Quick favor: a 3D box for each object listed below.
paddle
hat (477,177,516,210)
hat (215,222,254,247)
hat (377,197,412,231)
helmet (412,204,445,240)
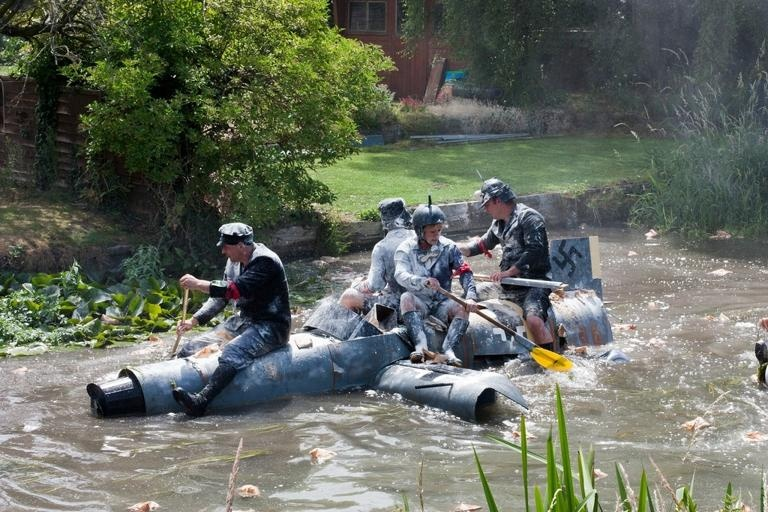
[{"bbox_3d":[1.679,1.116,17.123,2.652,0.157,0.398,27,18,37],"label":"paddle"},{"bbox_3d":[1.704,-0.994,17.837,0.459,0.308,0.474,-10,4,-15],"label":"hat"},{"bbox_3d":[-2.141,-0.346,16.337,0.424,0.240,0.371,-4,16,-18],"label":"hat"},{"bbox_3d":[0.190,-0.720,17.555,0.485,0.507,0.426,-12,18,-18],"label":"hat"},{"bbox_3d":[0.648,-0.564,17.068,0.537,0.480,0.481,4,20,6],"label":"helmet"}]
